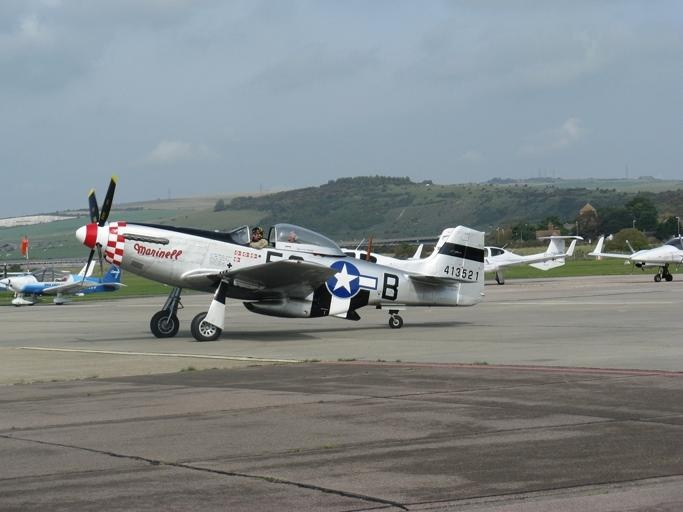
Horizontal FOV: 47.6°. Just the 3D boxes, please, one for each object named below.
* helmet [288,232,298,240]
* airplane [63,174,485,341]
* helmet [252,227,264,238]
[{"bbox_3d":[-1.098,-0.439,17.733,0.197,0.175,0.193,-4,-13,-3],"label":"helmet"},{"bbox_3d":[-1.259,0.337,17.576,6.117,1.520,5.934,8,-5,-20],"label":"airplane"},{"bbox_3d":[-1.877,-0.533,17.537,0.232,0.213,0.296,13,28,43],"label":"helmet"}]
